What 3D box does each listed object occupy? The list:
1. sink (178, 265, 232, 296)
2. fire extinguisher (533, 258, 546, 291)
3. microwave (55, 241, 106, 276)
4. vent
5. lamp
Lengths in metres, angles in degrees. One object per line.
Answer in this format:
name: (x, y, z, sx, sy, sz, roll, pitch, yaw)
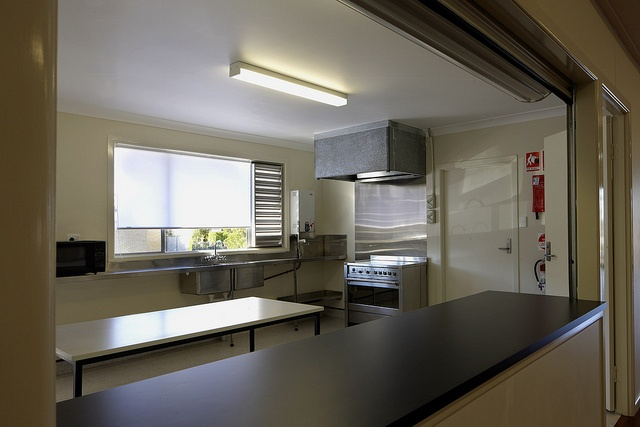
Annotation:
sink: (-1.399, 0.838, 5.132, 0.353, 0.304, 0.513, -4, -5, 40)
fire extinguisher: (2.557, 0.711, 4.890, 0.074, 0.376, 0.164, -3, 6, -29)
microwave: (-2.318, 0.437, 4.064, 0.297, 0.355, 0.561, -3, -3, 38)
vent: (0.831, -0.770, 5.612, 0.778, 0.560, 1.148, 4, -6, -42)
lamp: (-0.208, -1.174, 3.826, 1.120, 0.084, 0.120, 6, 19, -32)
